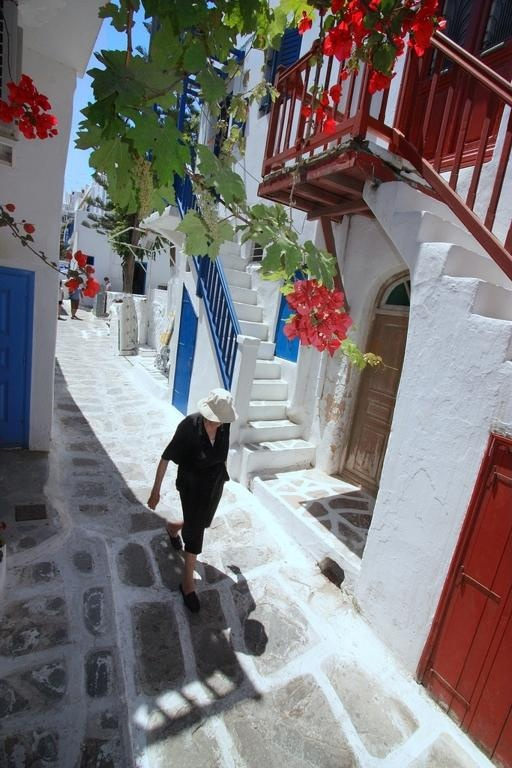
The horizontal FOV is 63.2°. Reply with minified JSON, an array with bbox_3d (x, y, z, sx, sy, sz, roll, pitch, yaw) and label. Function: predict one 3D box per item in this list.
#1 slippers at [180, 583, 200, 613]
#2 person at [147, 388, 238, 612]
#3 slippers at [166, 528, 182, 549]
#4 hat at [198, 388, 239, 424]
[{"bbox_3d":[-0.547,1.696,3.365,0.083,0.089,0.225,-3,24,-32],"label":"slippers"},{"bbox_3d":[-0.554,0.885,3.289,0.584,1.752,0.507,10,16,-1],"label":"person"},{"bbox_3d":[-0.809,1.458,4.066,0.082,0.067,0.236,0,39,-41],"label":"slippers"},{"bbox_3d":[-0.289,0.162,3.137,0.258,0.144,0.272,4,39,-32],"label":"hat"}]
